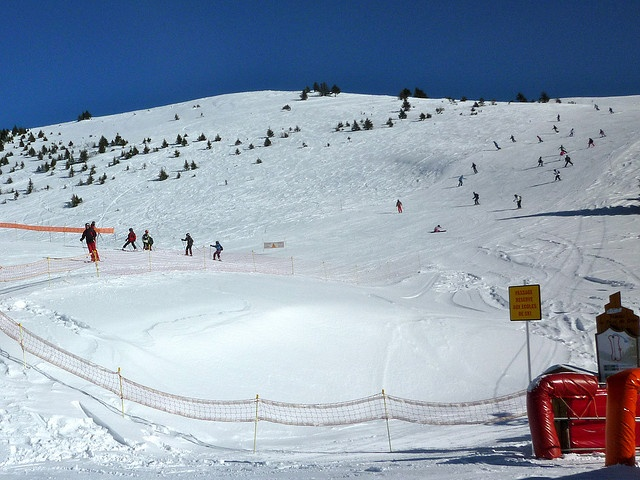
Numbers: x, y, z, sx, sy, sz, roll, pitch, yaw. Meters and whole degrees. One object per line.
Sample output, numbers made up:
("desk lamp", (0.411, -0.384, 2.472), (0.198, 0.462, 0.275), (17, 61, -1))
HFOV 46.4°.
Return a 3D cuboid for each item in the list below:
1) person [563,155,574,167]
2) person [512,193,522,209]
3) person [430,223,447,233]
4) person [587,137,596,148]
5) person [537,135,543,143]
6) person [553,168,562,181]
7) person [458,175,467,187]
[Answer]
("person", (15.617, -4.874, 47.053), (0.489, 0.909, 1.496), (-2, -2, 19))
("person", (11.371, -2.144, 43.046), (0.505, 0.952, 2.363), (-2, -2, 15))
("person", (6.460, -0.524, 40.614), (0.841, 0.508, 1.267), (-1, -2, 9))
("person", (17.941, -6.360, 49.503), (0.392, 0.860, 1.615), (-2, -2, 20))
("person", (16.185, -7.275, 54.902), (0.376, 0.630, 1.413), (-2, -2, 13))
("person", (14.452, -3.833, 45.525), (0.462, 0.878, 1.559), (-2, -2, 15))
("person", (9.313, -3.829, 49.445), (0.457, 0.918, 2.112), (-2, -2, 11))
